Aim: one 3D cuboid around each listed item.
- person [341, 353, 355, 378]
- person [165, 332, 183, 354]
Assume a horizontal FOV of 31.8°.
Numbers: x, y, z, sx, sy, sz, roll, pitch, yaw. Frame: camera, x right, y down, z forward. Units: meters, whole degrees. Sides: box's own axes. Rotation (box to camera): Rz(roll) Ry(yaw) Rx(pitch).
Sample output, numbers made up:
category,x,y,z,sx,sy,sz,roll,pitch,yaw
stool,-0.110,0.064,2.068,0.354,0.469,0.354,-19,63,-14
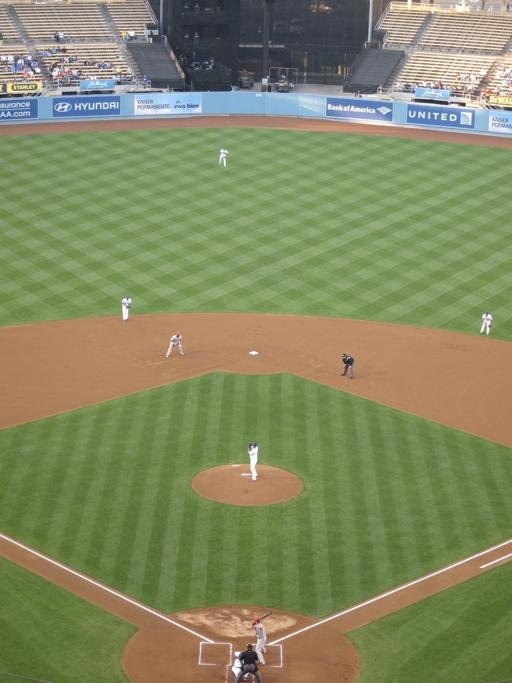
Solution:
category,x,y,z,sx,sy,sz,roll,pitch,yaw
person,3.552,0.850,34.305,0.449,0.984,1.275,5,30,4
person,-3.267,0.103,36.341,0.702,1.144,0.505,-9,54,-11
